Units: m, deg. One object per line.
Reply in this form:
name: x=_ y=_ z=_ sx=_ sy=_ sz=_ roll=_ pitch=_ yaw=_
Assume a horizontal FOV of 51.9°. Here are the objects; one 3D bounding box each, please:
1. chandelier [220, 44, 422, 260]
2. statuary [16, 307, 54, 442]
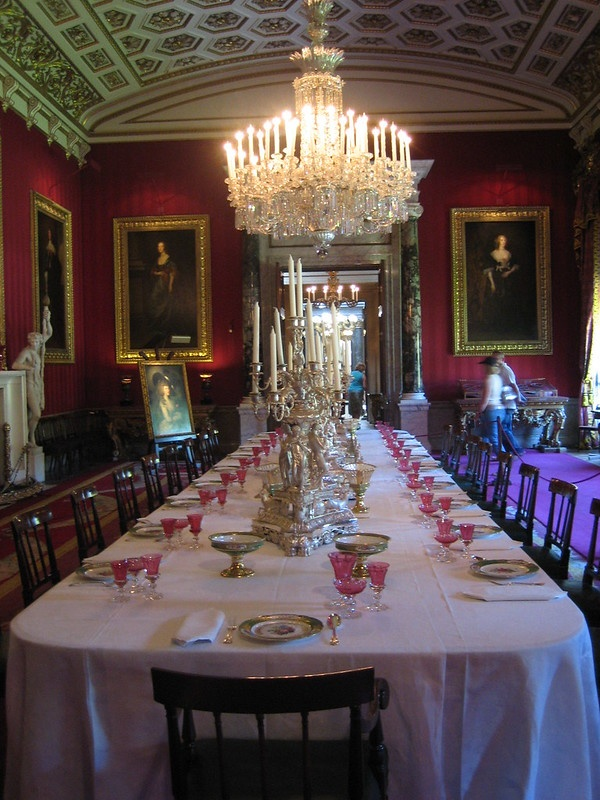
chandelier: x=0.048 y=-2.782 z=7.098 sx=1.826 sy=2.382 sz=3.184 roll=-4 pitch=6 yaw=-5
statuary: x=-3.524 y=-0.326 z=8.188 sx=0.497 sy=1.824 sz=1.618 roll=-7 pitch=7 yaw=-21
